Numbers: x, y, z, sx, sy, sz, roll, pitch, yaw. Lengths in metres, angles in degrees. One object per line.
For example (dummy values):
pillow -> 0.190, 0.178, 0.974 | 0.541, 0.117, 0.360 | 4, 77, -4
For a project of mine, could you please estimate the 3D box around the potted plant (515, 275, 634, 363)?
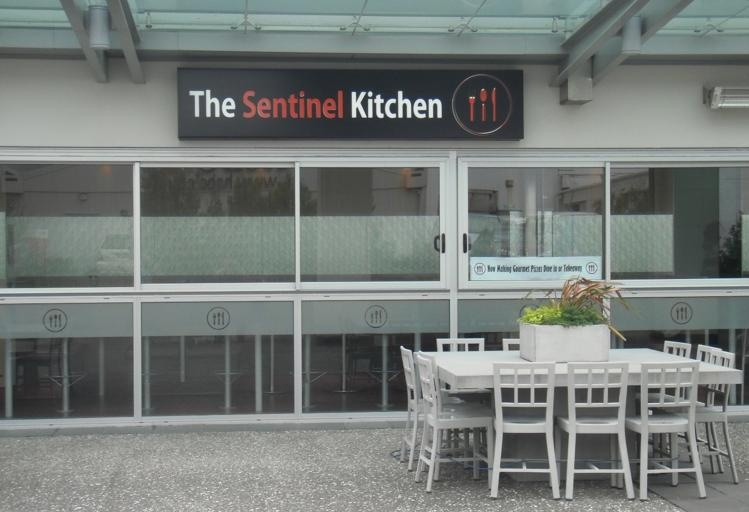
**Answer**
potted plant -> 2.266, 0.711, 9.920 | 1.275, 0.874, 0.964 | 1, -2, -4
